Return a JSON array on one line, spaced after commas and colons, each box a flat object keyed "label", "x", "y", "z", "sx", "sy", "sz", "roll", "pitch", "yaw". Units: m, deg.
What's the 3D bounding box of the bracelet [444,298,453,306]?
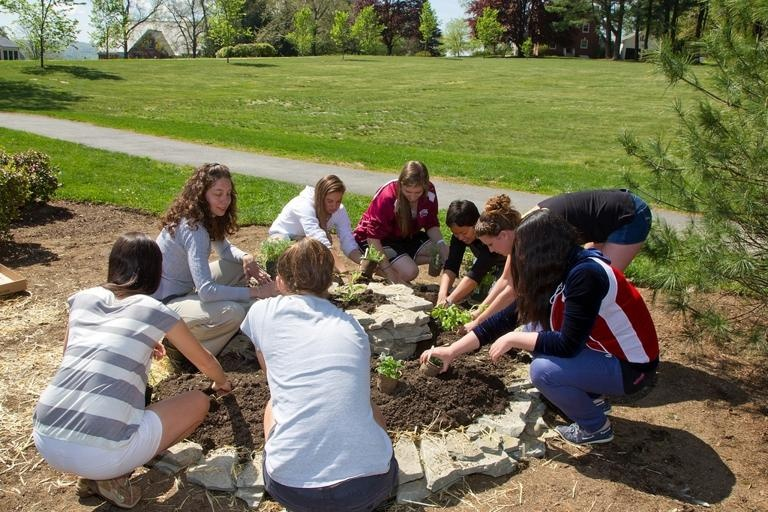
[{"label": "bracelet", "x": 0.757, "y": 0.547, "z": 7.388, "sx": 0.062, "sy": 0.105, "sz": 0.103, "roll": -1, "pitch": -18, "yaw": -2}]

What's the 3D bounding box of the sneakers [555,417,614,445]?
[{"label": "sneakers", "x": 1.969, "y": 1.740, "z": 6.185, "sx": 0.566, "sy": 0.243, "sz": 0.223, "roll": 0, "pitch": 6, "yaw": 11}]

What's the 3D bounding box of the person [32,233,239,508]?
[{"label": "person", "x": -2.363, "y": 1.047, "z": 5.546, "sx": 0.819, "sy": 2.274, "sz": 1.384, "roll": 16, "pitch": 24, "yaw": 36}]

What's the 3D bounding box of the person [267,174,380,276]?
[{"label": "person", "x": -0.786, "y": -0.551, "z": 8.318, "sx": 1.608, "sy": 1.051, "sz": 1.004, "roll": 37, "pitch": 33, "yaw": 32}]

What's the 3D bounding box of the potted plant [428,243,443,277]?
[{"label": "potted plant", "x": 0.771, "y": 0.030, "z": 8.736, "sx": 0.141, "sy": 0.379, "sz": 0.280, "roll": 10, "pitch": -8, "yaw": -17}]

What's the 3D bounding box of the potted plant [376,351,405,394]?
[{"label": "potted plant", "x": 0.047, "y": 1.236, "z": 6.458, "sx": 0.270, "sy": 0.341, "sz": 0.297, "roll": 19, "pitch": 15, "yaw": 22}]

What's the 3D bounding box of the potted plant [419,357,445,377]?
[{"label": "potted plant", "x": 0.496, "y": 1.145, "z": 6.505, "sx": 0.192, "sy": 0.202, "sz": 0.194, "roll": 40, "pitch": 23, "yaw": 17}]

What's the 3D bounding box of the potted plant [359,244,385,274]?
[{"label": "potted plant", "x": -0.157, "y": 0.052, "z": 8.296, "sx": 0.263, "sy": 0.314, "sz": 0.201, "roll": 26, "pitch": -23, "yaw": -2}]
